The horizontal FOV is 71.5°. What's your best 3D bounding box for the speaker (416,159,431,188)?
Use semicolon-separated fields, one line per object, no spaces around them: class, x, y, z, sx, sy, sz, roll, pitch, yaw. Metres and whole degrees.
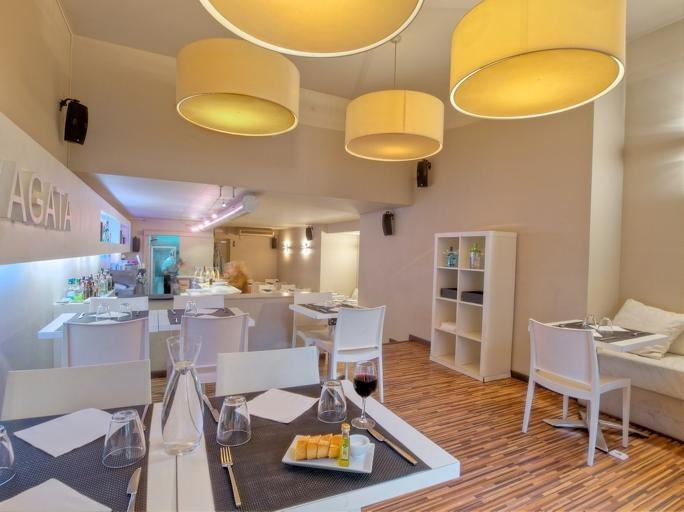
speaker;1.057;-1.092;6.311;0.244;0.376;0.192;9;13;40

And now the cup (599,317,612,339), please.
cup;2.200;0.600;3.940;0.109;0.182;0.182;2;3;35

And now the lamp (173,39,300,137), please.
lamp;-0.585;-0.973;2.826;0.607;0.273;0.620;-5;-9;44

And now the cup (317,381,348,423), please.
cup;-0.054;0.755;2.471;0.146;0.175;0.188;0;-4;-5

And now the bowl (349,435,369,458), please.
bowl;0.075;0.859;2.156;0.078;0.054;0.078;-1;3;0

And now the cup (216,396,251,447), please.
cup;-0.507;0.794;2.318;0.184;0.204;0.192;1;-5;0

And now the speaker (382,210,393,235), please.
speaker;0.679;-0.472;7.082;0.145;0.386;0.281;-4;11;-24

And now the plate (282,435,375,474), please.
plate;-0.045;0.889;2.107;0.252;0.037;0.182;2;3;7

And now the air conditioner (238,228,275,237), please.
air conditioner;-2.467;-0.683;13.827;1.044;0.248;0.297;-2;10;-16

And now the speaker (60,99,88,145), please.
speaker;-2.436;-1.212;4.315;0.214;0.375;0.292;-5;12;-30

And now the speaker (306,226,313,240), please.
speaker;-0.755;-0.518;11.097;0.093;0.342;0.291;-7;12;-34

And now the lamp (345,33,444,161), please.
lamp;0.413;-1.051;3.319;0.567;0.670;0.558;-1;3;-33

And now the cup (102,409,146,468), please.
cup;-0.969;0.835;2.216;0.199;0.227;0.217;3;-2;0

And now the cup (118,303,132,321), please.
cup;-1.807;0.467;3.917;0.108;0.158;0.158;-1;-1;10

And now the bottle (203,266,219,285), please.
bottle;-2.324;0.352;8.390;0.246;0.418;0.243;2;6;0

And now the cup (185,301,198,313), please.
cup;-1.278;0.422;3.993;0.100;0.102;0.103;3;-2;0

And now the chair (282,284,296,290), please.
chair;-1.096;0.641;9.764;0.182;0.124;0.191;1;2;-3

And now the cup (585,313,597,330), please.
cup;2.160;0.572;4.117;0.126;0.134;0.094;-2;4;-21

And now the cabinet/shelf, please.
cabinet/shelf;1.461;0.471;5.311;0.603;1.570;1.029;-5;12;-30

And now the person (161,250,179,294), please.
person;-3.571;0.334;9.906;0.351;0.931;0.462;-4;11;-23
